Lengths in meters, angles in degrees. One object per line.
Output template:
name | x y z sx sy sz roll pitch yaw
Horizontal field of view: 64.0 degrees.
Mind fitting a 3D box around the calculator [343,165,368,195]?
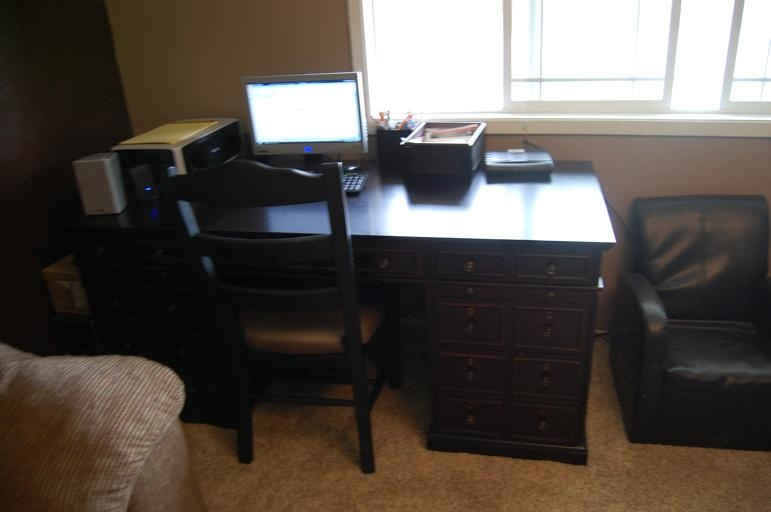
calculator | -0.147 -0.364 2.975 0.121 0.044 0.262 -6 34 11

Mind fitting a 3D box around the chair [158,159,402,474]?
chair | -0.428 0.218 2.721 0.836 1.411 0.534 0 26 9

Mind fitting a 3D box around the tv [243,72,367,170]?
tv | -0.395 -0.693 3.075 0.666 0.476 0.208 1 31 8

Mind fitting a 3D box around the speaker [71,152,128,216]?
speaker | -1.310 -0.330 2.877 0.226 0.249 0.224 5 19 29

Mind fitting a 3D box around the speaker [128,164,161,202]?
speaker | -1.139 -0.346 2.890 0.113 0.215 0.127 3 20 18
